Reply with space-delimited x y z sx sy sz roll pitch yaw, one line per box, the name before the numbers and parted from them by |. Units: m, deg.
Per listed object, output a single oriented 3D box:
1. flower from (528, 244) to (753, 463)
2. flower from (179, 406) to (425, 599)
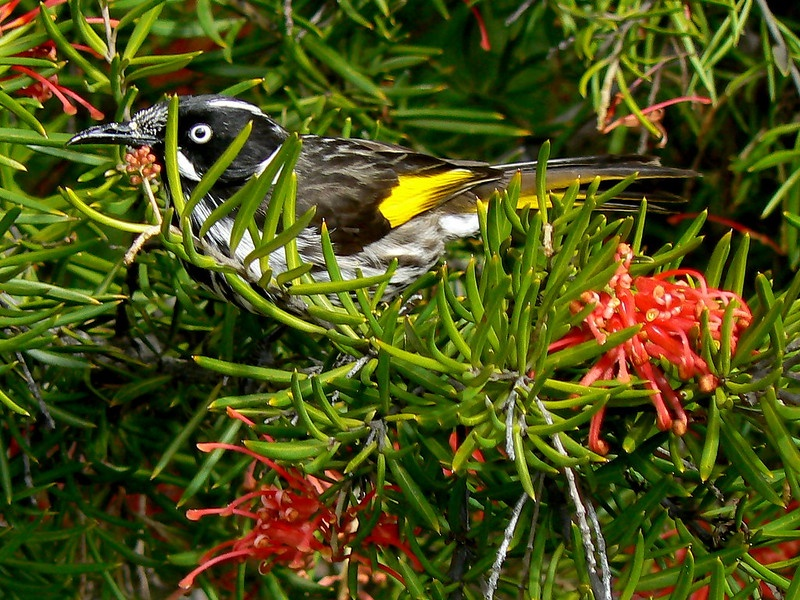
flower | 0.490 0.080 1.931 0.198 0.465 0.362 -37 81 25
flower | -0.170 0.498 2.236 0.508 0.527 0.183 13 91 40
